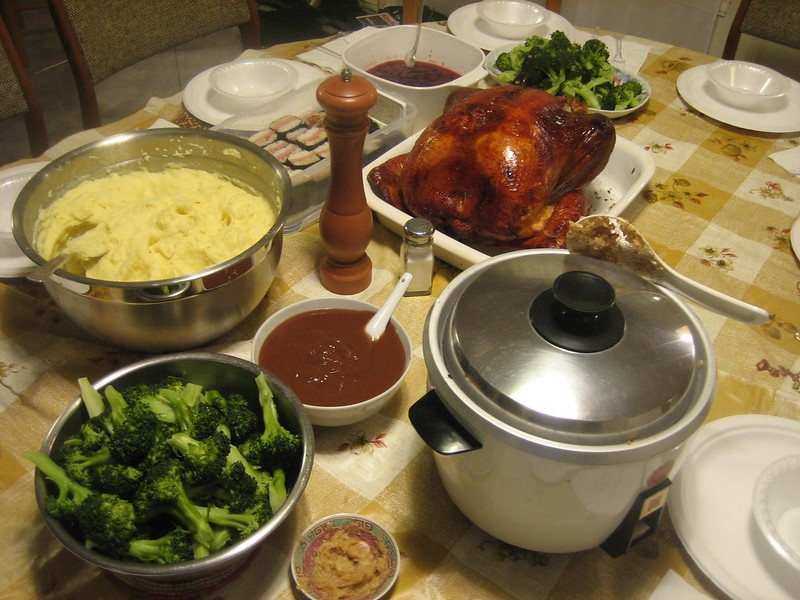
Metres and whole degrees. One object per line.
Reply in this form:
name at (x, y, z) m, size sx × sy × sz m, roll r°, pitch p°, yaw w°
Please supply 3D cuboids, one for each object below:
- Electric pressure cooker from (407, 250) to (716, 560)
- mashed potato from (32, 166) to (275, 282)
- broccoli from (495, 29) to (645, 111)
Electric pressure cooker at (0.309, 0.185, 1.324) m, size 0.558 × 0.437 × 0.559 m, roll 8°, pitch 50°, yaw 2°
mashed potato at (-0.626, -0.190, 1.647) m, size 0.411 × 0.116 × 0.414 m, roll 15°, pitch 38°, yaw 16°
broccoli at (0.624, -0.842, 2.406) m, size 0.455 × 0.152 × 0.437 m, roll 30°, pitch 43°, yaw 21°
